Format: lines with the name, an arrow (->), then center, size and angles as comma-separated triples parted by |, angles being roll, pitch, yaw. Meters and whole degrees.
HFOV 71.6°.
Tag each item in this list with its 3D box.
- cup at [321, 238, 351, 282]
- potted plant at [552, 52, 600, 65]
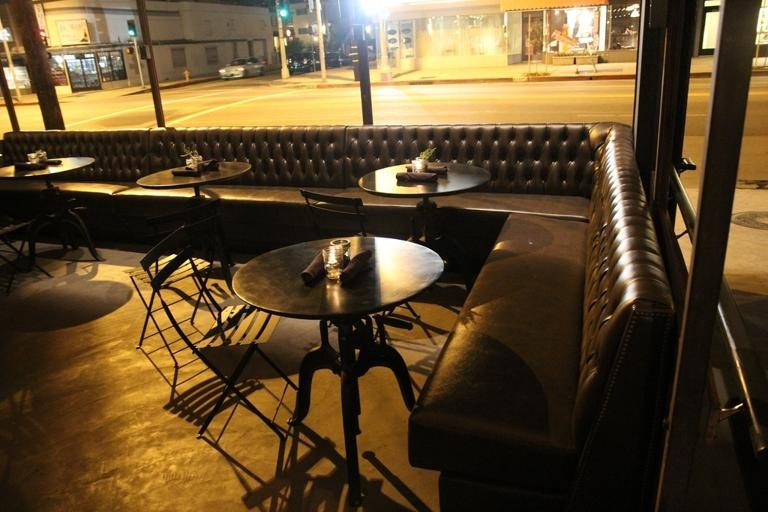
cup -> -0.272, 0.036, 3.226 | 0.181, 0.215, 0.230 | -1, 20, 4
potted plant -> 1.981, -2.060, 5.557 | 0.257, 0.112, 0.574 | -23, 28, -39
